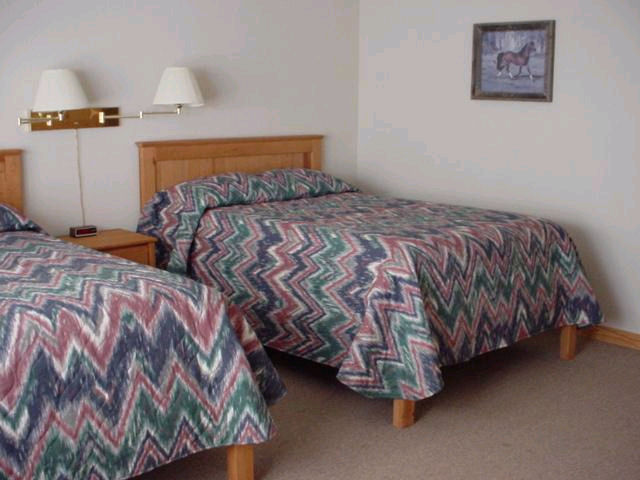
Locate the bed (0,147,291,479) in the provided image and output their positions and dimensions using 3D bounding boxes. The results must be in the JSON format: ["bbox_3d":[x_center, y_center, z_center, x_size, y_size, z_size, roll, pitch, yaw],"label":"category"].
[{"bbox_3d":[-0.580,0.086,3.224,2.309,1.313,1.901,11,17,38],"label":"bed"}]

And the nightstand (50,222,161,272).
[{"bbox_3d":[-1.395,-0.004,3.404,0.346,0.315,0.354,-12,17,-43],"label":"nightstand"}]
